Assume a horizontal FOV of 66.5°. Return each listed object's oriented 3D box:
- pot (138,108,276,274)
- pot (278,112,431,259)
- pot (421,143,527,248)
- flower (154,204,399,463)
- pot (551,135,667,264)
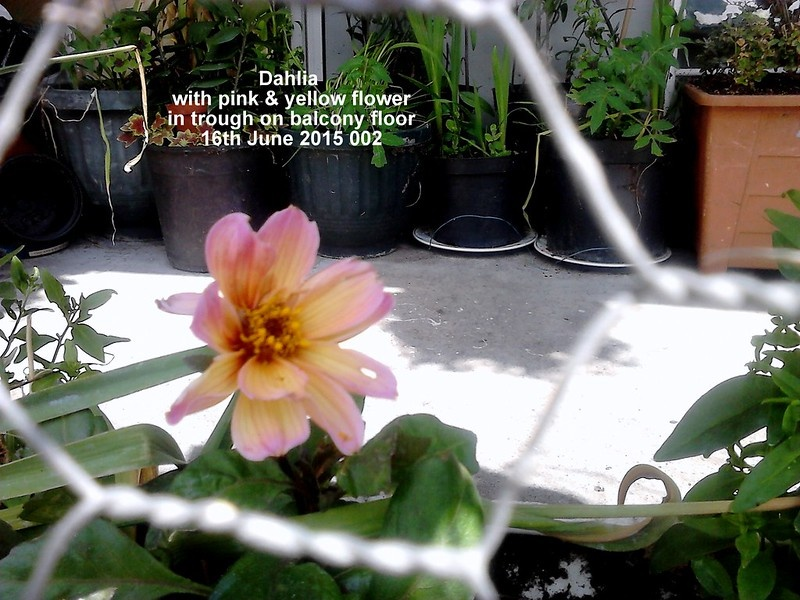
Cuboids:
[{"bbox_3d":[-0.835,-0.430,2.615,0.542,0.461,0.564,-8,13,2],"label":"pot"},{"bbox_3d":[-0.238,-0.459,2.595,0.597,0.469,0.589,0,14,0],"label":"pot"},{"bbox_3d":[0.351,-0.466,2.697,0.495,0.405,0.381,3,26,2],"label":"pot"},{"bbox_3d":[-0.086,0.018,0.464,0.158,0.154,0.134,-1,26,-7],"label":"flower"},{"bbox_3d":[0.849,-0.329,2.584,0.480,0.482,0.467,6,-23,2],"label":"pot"}]
